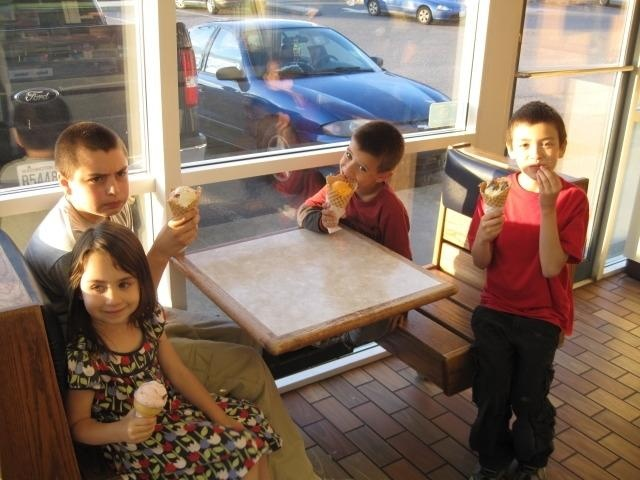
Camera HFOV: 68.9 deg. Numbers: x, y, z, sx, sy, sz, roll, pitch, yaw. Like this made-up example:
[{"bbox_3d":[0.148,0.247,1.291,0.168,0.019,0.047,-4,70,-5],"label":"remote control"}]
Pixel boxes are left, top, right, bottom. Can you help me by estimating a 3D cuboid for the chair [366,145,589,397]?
[{"bbox_3d":[0.601,0.159,2.166,0.672,0.827,0.856,-12,20,-16],"label":"chair"}]
